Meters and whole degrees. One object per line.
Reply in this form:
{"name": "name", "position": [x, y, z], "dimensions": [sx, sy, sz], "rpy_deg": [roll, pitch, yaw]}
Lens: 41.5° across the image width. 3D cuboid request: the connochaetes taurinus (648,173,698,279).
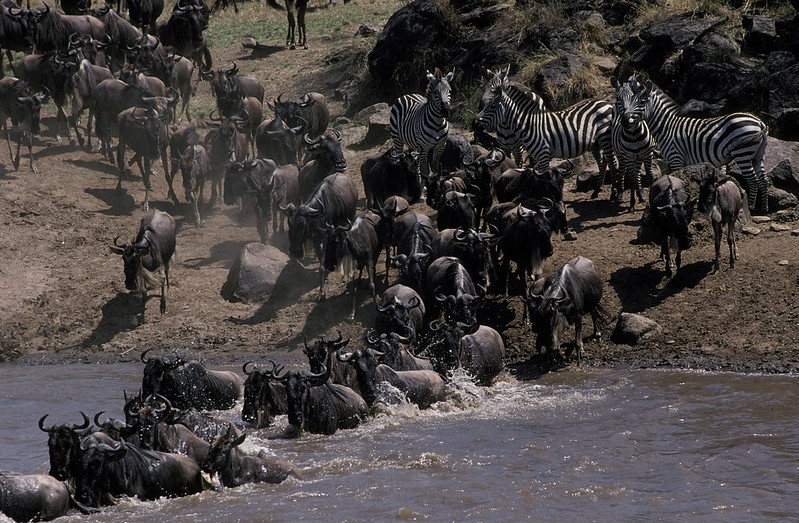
{"name": "connochaetes taurinus", "position": [6.691, -0.829, 25.910], "dimensions": [1.061, 2.499, 1.117], "rpy_deg": [-2, 0, 12]}
